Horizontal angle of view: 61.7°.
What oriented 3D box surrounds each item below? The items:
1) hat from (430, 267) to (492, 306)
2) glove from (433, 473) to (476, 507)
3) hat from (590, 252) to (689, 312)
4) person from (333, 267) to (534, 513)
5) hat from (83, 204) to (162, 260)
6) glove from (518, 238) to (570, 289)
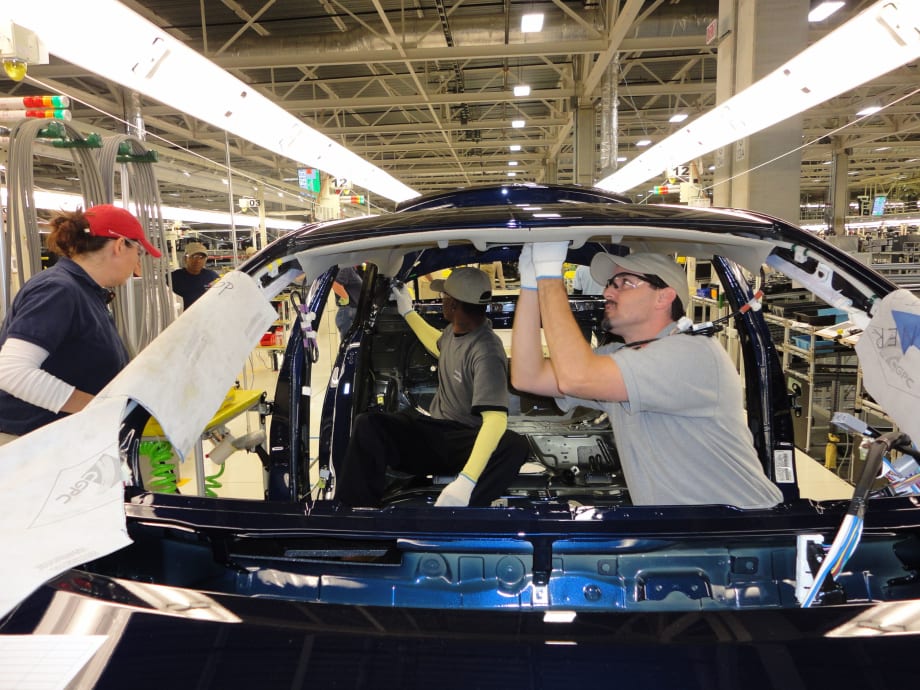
[{"bbox_3d":[-0.011,-0.273,3.518,0.244,0.108,0.158,20,25,20],"label":"hat"},{"bbox_3d":[-0.020,0.574,3.035,0.089,0.085,0.287,46,19,20],"label":"glove"},{"bbox_3d":[0.596,-0.205,2.471,0.301,0.093,0.187,11,-7,-15],"label":"hat"},{"bbox_3d":[-0.129,0.218,3.450,0.638,0.898,0.889,2,26,-17],"label":"person"},{"bbox_3d":[-1.384,-0.472,3.199,0.199,0.147,0.328,16,3,43],"label":"hat"},{"bbox_3d":[0.256,-0.244,2.341,0.114,0.151,0.160,8,-4,8],"label":"glove"}]
